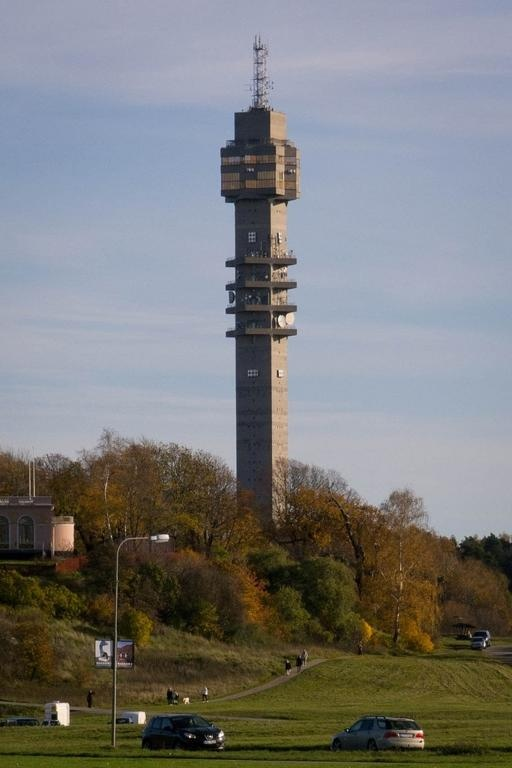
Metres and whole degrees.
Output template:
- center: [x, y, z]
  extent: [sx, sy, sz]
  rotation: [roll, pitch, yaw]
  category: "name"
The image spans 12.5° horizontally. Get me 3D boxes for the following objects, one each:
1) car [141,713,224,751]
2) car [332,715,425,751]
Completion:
- center: [-3.650, 17.285, 115.391]
  extent: [4.242, 1.880, 1.934]
  rotation: [-5, -9, 25]
  category: "car"
- center: [6.235, 17.228, 114.675]
  extent: [4.272, 1.633, 1.446]
  rotation: [-3, -8, 10]
  category: "car"
